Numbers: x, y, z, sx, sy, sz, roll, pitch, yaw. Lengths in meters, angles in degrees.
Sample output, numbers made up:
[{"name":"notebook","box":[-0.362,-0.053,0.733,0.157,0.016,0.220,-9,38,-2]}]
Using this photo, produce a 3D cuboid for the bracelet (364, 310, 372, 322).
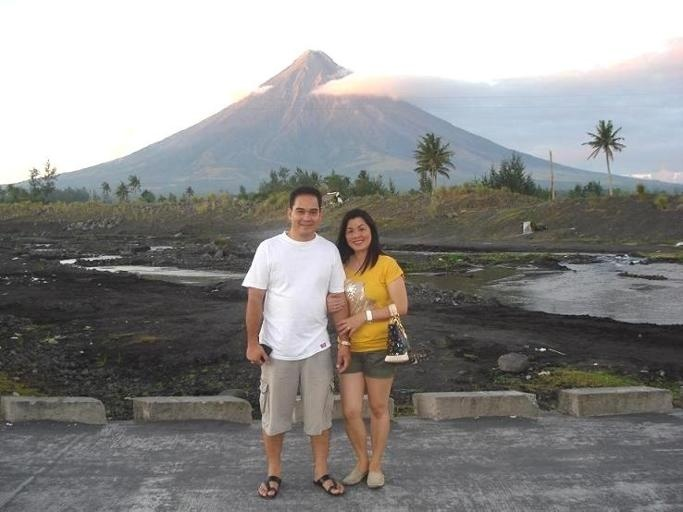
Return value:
[{"name":"bracelet","box":[0.270,0.587,5.712,0.086,0.094,0.090,0,25,9]}]

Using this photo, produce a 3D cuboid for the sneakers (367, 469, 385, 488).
[{"name":"sneakers","box":[0.322,2.126,5.568,0.183,0.156,0.192,2,6,3]}]

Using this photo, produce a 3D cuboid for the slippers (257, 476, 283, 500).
[{"name":"slippers","box":[-0.681,2.140,5.352,0.198,0.137,0.197,1,6,-7]}]

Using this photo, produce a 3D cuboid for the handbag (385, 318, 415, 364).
[{"name":"handbag","box":[0.579,0.856,5.746,0.216,0.498,0.304,5,7,33]}]

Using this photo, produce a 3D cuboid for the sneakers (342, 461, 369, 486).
[{"name":"sneakers","box":[0.132,2.153,5.669,0.105,0.120,0.289,-11,-16,34]}]

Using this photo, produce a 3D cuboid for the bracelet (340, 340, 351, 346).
[{"name":"bracelet","box":[0.035,0.870,5.704,0.071,0.049,0.075,4,-12,-5]}]

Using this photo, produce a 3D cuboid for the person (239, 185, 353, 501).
[{"name":"person","box":[-0.439,0.756,5.583,0.997,2.851,0.710,0,6,-8]}]

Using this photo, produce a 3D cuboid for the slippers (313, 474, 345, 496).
[{"name":"slippers","box":[-0.130,2.162,5.494,0.138,0.085,0.254,-5,4,-35]}]

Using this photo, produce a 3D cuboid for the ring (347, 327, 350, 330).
[{"name":"ring","box":[0.059,0.708,5.675,0.024,0.031,0.011,1,-2,-12]}]
